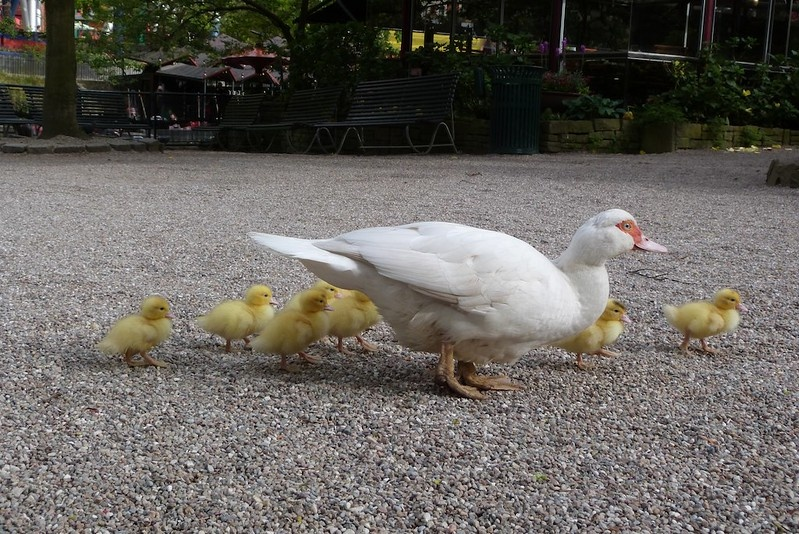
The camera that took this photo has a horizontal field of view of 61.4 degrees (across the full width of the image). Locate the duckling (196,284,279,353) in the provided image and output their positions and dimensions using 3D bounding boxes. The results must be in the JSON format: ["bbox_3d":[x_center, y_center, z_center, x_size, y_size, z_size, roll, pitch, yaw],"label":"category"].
[{"bbox_3d":[-1.018,0.297,4.226,0.561,0.369,0.323,2,17,-19],"label":"duckling"}]

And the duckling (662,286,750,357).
[{"bbox_3d":[1.907,0.341,4.281,0.437,0.396,0.221,8,18,20],"label":"duckling"}]

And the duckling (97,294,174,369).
[{"bbox_3d":[-1.539,0.367,3.910,0.437,0.366,0.283,-1,3,-21],"label":"duckling"}]

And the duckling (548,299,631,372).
[{"bbox_3d":[1.132,0.355,4.219,0.595,0.439,0.375,11,16,38],"label":"duckling"}]
